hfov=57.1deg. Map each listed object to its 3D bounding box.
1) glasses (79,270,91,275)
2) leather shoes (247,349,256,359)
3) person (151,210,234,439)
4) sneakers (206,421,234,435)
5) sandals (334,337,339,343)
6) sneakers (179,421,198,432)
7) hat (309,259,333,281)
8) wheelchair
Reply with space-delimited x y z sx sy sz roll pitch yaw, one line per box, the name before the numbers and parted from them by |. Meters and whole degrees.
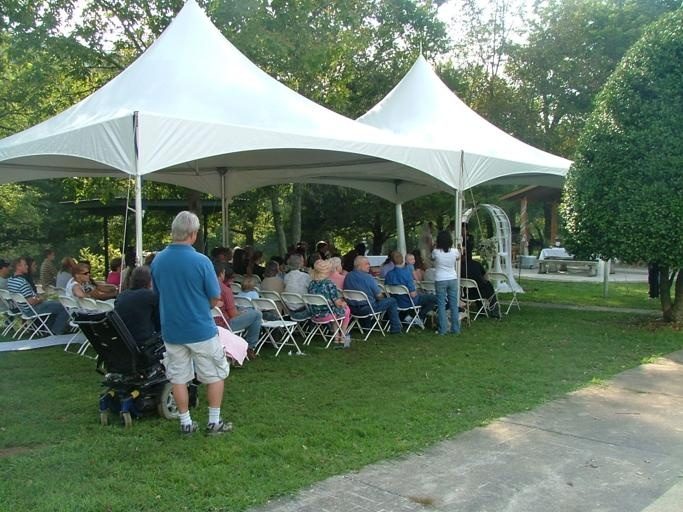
glasses | -4.100 0.266 10.080 0.056 0.109 0.193 2 9 15
leather shoes | -1.344 1.512 9.529 0.088 0.148 0.148 -3 -20 8
person | -1.588 0.730 6.656 0.758 2.371 0.369 -2 10 -9
sneakers | -1.297 1.862 6.819 0.302 0.133 0.113 -4 4 -35
sandals | -0.084 1.441 10.559 0.080 0.108 0.082 -3 -6 33
sneakers | -1.642 1.860 6.774 0.084 0.113 0.179 1 3 24
hat | -0.336 0.255 10.287 0.237 0.333 0.341 -2 -12 15
wheelchair | -2.370 1.305 7.290 0.773 1.262 1.267 -7 -6 34
